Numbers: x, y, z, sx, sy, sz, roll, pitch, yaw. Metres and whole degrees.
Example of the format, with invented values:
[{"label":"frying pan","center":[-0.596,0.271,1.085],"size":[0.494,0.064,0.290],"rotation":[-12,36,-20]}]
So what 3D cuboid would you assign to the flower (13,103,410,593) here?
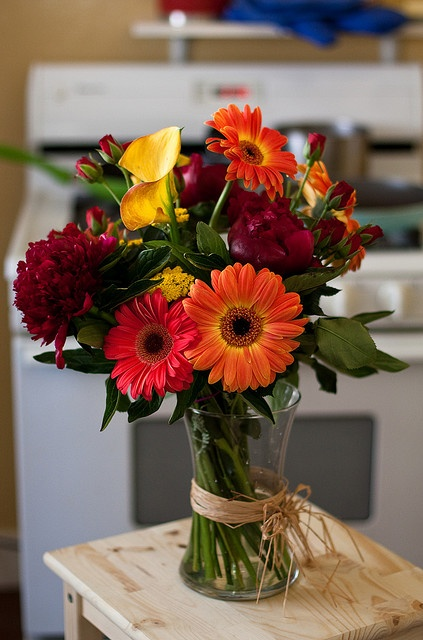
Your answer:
[{"label":"flower","center":[0.008,0.039,0.401],"size":[0.215,0.283,0.216],"rotation":[3,-4,-28]}]

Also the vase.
[{"label":"vase","center":[0.024,0.144,0.481],"size":[0.099,0.142,0.090],"rotation":[7,-1,-40]}]
